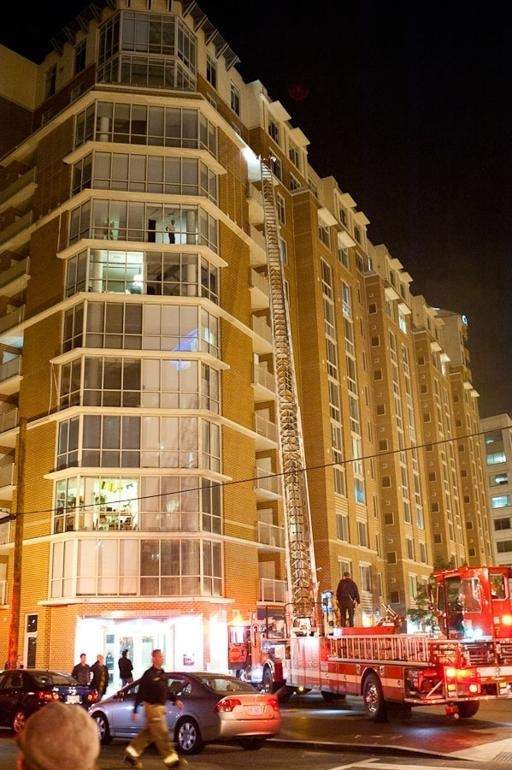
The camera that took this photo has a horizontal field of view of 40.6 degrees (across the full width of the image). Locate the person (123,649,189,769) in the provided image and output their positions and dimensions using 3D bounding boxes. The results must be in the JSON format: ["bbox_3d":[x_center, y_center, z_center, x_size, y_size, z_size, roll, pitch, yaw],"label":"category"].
[{"bbox_3d":[-1.534,4.848,10.409,0.828,1.602,0.845,-1,-20,-11],"label":"person"}]

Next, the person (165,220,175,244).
[{"bbox_3d":[-4.542,-8.216,37.045,0.489,1.366,0.134,6,-23,-28],"label":"person"}]
